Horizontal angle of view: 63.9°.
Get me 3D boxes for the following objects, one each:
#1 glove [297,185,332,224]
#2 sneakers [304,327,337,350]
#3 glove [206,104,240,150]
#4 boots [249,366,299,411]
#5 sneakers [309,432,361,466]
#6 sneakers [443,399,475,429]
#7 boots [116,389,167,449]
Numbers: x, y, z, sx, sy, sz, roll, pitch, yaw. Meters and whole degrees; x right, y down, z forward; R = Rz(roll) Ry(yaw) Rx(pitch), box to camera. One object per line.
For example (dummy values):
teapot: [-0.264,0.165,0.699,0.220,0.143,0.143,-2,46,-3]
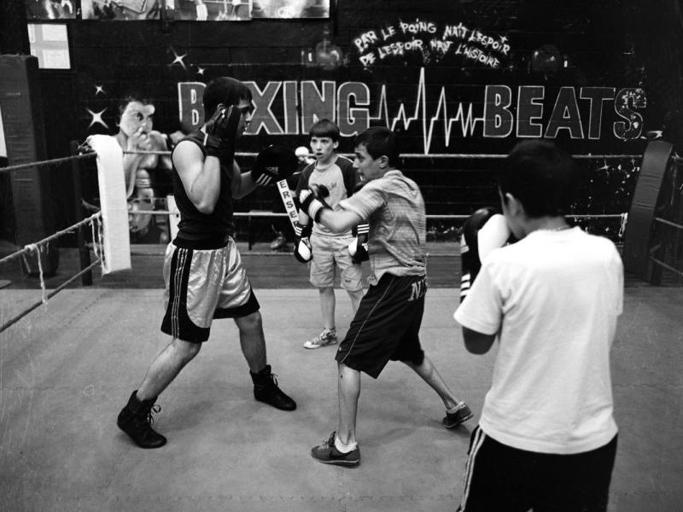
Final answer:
glove: [-0.121,-0.242,2.471,0.116,0.171,0.287,-2,15,-7]
sneakers: [-0.177,0.564,3.847,0.293,0.137,0.098,-4,18,-27]
glove: [-0.541,-0.600,2.535,0.080,0.158,0.200,5,3,-38]
boots: [-0.311,0.734,3.100,0.341,0.252,0.146,5,8,19]
sneakers: [-0.021,0.910,2.588,0.258,0.156,0.105,2,-1,19]
sneakers: [0.590,0.810,2.833,0.186,0.078,0.088,-39,1,-16]
boots: [-0.973,0.784,2.670,0.206,0.247,0.220,-8,17,-28]
